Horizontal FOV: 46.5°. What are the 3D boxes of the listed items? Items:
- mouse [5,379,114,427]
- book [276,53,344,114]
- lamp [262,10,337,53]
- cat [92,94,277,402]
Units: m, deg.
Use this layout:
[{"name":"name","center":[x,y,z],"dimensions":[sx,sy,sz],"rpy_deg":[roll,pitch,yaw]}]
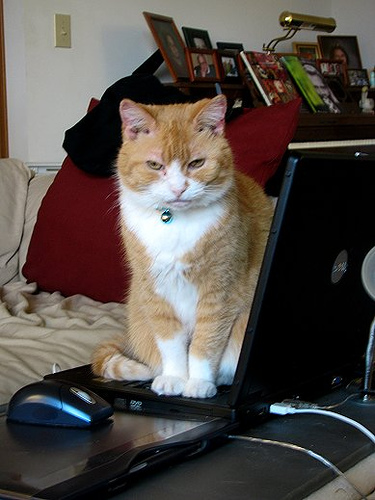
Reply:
[{"name":"mouse","center":[-0.160,0.175,0.523],"dimensions":[0.103,0.033,0.056],"rpy_deg":[0,-3,13]},{"name":"book","center":[0.781,-1.053,2.765],"dimensions":[0.298,0.402,0.426],"rpy_deg":[5,1,43]},{"name":"lamp","center":[0.693,-1.352,2.741],"dimensions":[0.445,0.258,0.133],"rpy_deg":[-2,30,-18]},{"name":"cat","center":[-0.024,-0.008,0.823],"dimensions":[0.356,0.506,0.326],"rpy_deg":[-2,9,12]}]
